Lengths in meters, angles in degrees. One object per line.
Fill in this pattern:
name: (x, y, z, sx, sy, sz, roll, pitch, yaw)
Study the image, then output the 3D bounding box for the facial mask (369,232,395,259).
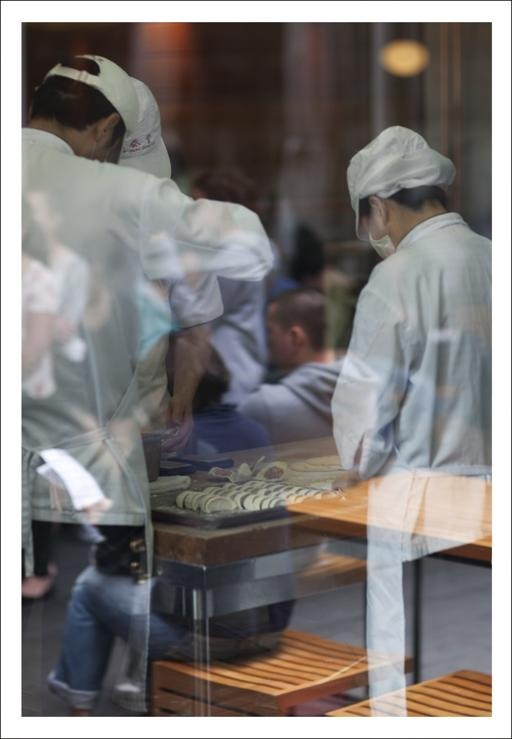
facial mask: (0.301, -0.294, 2.509, 0.062, 0.049, 0.060, 5, -2, 16)

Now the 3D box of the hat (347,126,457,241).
hat: (0.342, -0.440, 2.462, 0.265, 0.211, 0.220, -1, 12, 37)
